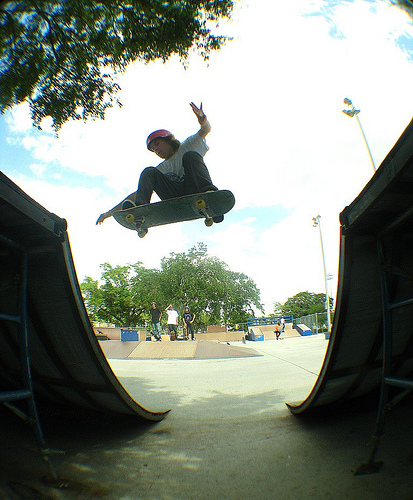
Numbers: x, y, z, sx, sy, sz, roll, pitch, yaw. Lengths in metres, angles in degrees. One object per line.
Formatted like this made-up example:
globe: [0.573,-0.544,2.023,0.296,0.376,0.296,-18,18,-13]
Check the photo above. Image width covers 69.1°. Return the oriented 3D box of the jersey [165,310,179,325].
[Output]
jersey: [-1.376,2.691,12.005,0.384,0.591,0.565,1,-13,-9]

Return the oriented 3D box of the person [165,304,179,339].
person: [-1.406,2.836,12.181,0.451,1.161,0.974,1,-13,-9]

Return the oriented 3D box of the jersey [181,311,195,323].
jersey: [-0.794,2.950,13.128,0.347,0.463,0.599,1,-14,-13]

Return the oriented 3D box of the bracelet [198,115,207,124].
bracelet: [-0.047,-1.640,3.776,0.102,0.089,0.071,-1,-13,-4]

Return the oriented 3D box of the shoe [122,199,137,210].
shoe: [-1.013,-0.596,3.985,0.155,0.152,0.162,5,9,11]

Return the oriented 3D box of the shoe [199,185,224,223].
shoe: [0.068,-0.569,3.895,0.237,0.323,0.963,-3,-14,7]

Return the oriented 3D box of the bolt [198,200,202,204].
bolt: [-0.074,-0.580,3.629,0.042,0.035,0.023,-1,-13,-2]
